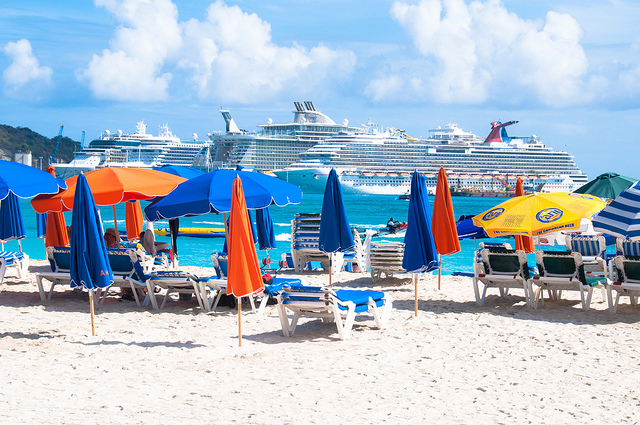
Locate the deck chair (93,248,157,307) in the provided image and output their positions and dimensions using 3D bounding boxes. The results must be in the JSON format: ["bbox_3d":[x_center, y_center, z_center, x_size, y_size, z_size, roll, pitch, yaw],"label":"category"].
[{"bbox_3d":[-3.143,1.037,15.969,0.825,1.054,1.163,2,1,14],"label":"deck chair"}]

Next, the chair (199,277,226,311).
[{"bbox_3d":[-1.741,1.318,15.715,0.496,0.395,0.575,-2,-2,21],"label":"chair"}]

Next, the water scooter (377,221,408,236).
[{"bbox_3d":[3.140,0.717,41.296,1.124,0.210,0.387,-15,-31,11],"label":"water scooter"}]

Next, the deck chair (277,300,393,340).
[{"bbox_3d":[0.326,1.460,15.262,1.524,0.726,2.511,-4,1,13],"label":"deck chair"}]

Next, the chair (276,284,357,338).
[{"bbox_3d":[0.130,1.528,14.756,1.131,0.681,1.464,-1,-6,30],"label":"chair"}]

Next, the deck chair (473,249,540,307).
[{"bbox_3d":[3.137,0.980,16.208,0.707,0.726,1.260,0,3,22],"label":"deck chair"}]

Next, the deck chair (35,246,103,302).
[{"bbox_3d":[-4.385,0.991,16.554,0.987,1.136,1.143,4,3,0],"label":"deck chair"}]

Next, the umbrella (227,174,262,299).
[{"bbox_3d":[-1.103,0.414,14.056,0.477,1.755,0.625,-3,15,-11],"label":"umbrella"}]

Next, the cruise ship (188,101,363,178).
[{"bbox_3d":[-2.493,-6.812,94.923,21.345,8.120,6.131,3,4,33],"label":"cruise ship"}]

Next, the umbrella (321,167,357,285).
[{"bbox_3d":[0.350,0.226,16.427,0.580,1.974,0.639,2,15,8],"label":"umbrella"}]

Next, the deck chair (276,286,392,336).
[{"bbox_3d":[0.266,1.479,14.798,1.048,0.678,1.871,-1,1,31],"label":"deck chair"}]

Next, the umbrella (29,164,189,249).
[{"bbox_3d":[-3.400,-0.487,16.575,1.859,1.138,1.920,-20,20,-40],"label":"umbrella"}]

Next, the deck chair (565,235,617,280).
[{"bbox_3d":[4.843,0.817,17.225,0.741,0.848,0.745,1,0,36],"label":"deck chair"}]

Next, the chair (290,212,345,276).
[{"bbox_3d":[0.053,0.661,20.113,1.066,1.174,1.320,-3,-7,28],"label":"chair"}]

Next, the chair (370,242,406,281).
[{"bbox_3d":[1.332,0.924,18.546,0.683,0.572,0.752,-1,-5,4],"label":"chair"}]

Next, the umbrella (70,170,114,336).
[{"bbox_3d":[-3.521,0.648,14.619,0.735,2.427,0.673,-3,1,36],"label":"umbrella"}]

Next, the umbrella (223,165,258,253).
[{"bbox_3d":[-1.601,-0.130,18.853,0.723,1.839,0.780,0,-1,-1],"label":"umbrella"}]

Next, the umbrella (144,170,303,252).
[{"bbox_3d":[-1.689,0.024,16.817,2.609,1.545,2.547,-6,2,-10],"label":"umbrella"}]

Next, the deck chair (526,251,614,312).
[{"bbox_3d":[4.220,1.083,16.130,1.005,0.882,1.564,1,3,33],"label":"deck chair"}]

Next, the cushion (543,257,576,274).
[{"bbox_3d":[3.907,0.863,15.660,0.334,0.329,0.085,-2,17,31],"label":"cushion"}]
